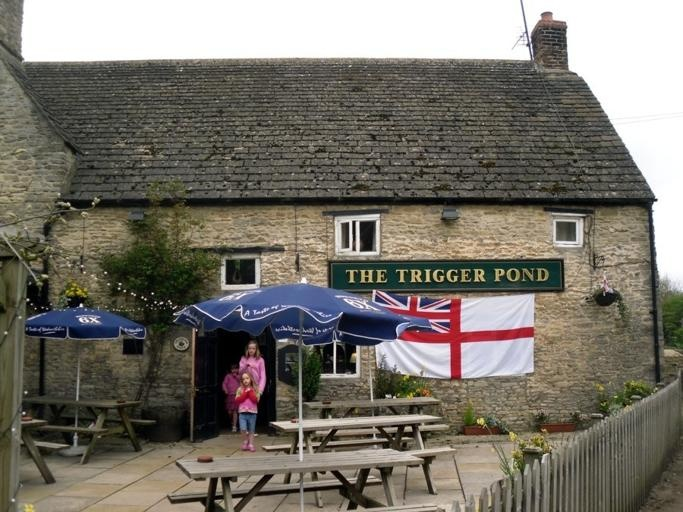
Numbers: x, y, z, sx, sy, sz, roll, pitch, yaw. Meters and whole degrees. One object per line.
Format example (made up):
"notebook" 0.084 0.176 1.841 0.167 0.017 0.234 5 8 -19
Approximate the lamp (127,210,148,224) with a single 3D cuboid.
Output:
"lamp" -4.717 -0.912 23.175 0.470 0.315 0.206 -3 -7 22

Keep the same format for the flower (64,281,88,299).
"flower" -6.014 0.751 23.052 0.543 0.414 0.485 2 -7 -17

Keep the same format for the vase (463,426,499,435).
"vase" 3.073 3.914 22.735 0.512 0.116 0.300 0 -2 -4

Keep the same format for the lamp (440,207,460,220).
"lamp" 2.461 -0.955 23.268 0.412 0.312 0.264 -1 -7 5

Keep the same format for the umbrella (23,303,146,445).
"umbrella" -5.583 2.338 21.620 2.590 2.803 2.536 3 1 -15

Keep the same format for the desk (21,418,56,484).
"desk" -6.117 3.765 19.650 0.815 1.036 1.133 -1 -10 -31

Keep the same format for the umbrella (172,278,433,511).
"umbrella" -0.680 2.308 17.012 3.841 3.842 1.271 -1 -7 2

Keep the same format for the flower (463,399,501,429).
"flower" 3.131 3.563 22.819 0.710 0.505 0.581 3 -9 -2

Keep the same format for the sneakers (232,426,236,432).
"sneakers" -2.484 3.977 23.361 0.118 0.071 0.138 2 -14 -4
